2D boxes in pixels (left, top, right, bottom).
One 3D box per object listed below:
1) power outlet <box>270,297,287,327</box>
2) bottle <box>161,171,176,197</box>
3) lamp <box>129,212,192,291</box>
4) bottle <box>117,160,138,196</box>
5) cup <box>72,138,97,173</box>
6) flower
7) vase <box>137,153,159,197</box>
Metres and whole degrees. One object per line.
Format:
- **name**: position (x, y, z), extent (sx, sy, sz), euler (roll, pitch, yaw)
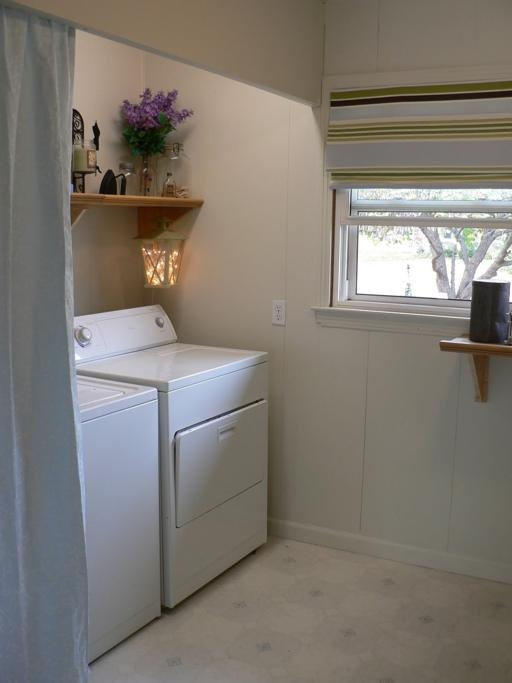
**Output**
- **power outlet**: position (0.107, -0.146, 2.509), extent (0.100, 0.211, 0.019), euler (6, 10, 31)
- **bottle**: position (-0.430, -0.774, 2.600), extent (0.070, 0.130, 0.038), euler (1, 3, 26)
- **lamp**: position (-0.457, -0.450, 2.646), extent (0.303, 0.578, 0.367), euler (0, 3, 0)
- **bottle**: position (-0.624, -0.777, 2.566), extent (0.076, 0.159, 0.210), euler (-1, 3, -9)
- **cup**: position (-0.675, -0.735, 2.081), extent (0.085, 0.113, 0.092), euler (3, 7, 0)
- **flower**: position (-0.499, -1.089, 2.569), extent (0.391, 0.368, 0.219), euler (2, 3, 28)
- **vase**: position (-0.557, -0.843, 2.696), extent (0.099, 0.233, 0.189), euler (-2, 3, -29)
